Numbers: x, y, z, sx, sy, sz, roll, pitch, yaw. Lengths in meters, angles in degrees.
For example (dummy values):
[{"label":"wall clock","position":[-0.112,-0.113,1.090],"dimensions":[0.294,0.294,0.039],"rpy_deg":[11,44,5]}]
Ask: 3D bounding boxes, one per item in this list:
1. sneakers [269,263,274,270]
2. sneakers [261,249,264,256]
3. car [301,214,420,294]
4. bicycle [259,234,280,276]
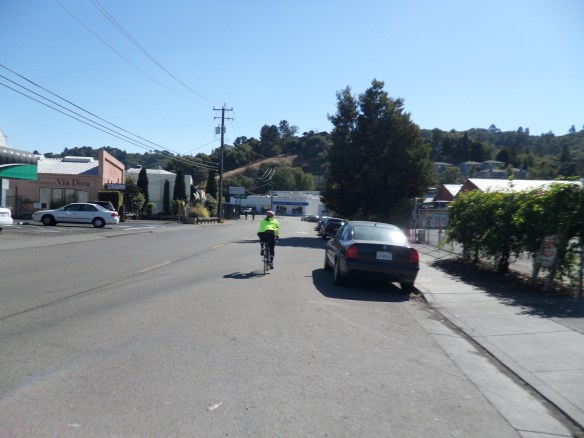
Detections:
[{"label":"sneakers","position":[-0.623,1.436,14.286],"dimensions":[0.127,0.181,0.142],"rpy_deg":[0,-3,-6]},{"label":"sneakers","position":[-0.853,0.975,13.663],"dimensions":[0.096,0.223,0.141],"rpy_deg":[5,2,-3]},{"label":"car","position":[2.077,0.953,12.443],"dimensions":[1.884,1.672,2.301],"rpy_deg":[2,3,-5]},{"label":"bicycle","position":[-0.701,1.003,14.055],"dimensions":[0.455,1.153,1.167],"rpy_deg":[2,3,-2]}]
